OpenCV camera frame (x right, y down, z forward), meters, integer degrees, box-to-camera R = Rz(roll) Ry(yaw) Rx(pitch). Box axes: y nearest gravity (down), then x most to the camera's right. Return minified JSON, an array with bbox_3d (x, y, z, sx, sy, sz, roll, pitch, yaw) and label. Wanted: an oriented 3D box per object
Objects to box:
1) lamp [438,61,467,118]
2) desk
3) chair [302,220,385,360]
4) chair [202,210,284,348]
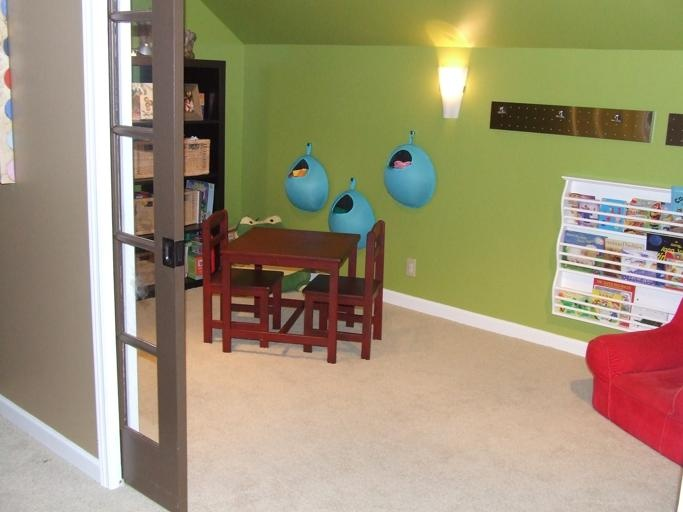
[{"bbox_3d":[0.842,-1.267,4.427,0.211,0.401,0.121,5,13,19],"label":"lamp"},{"bbox_3d":[-0.347,0.264,4.348,0.990,0.768,1.045,7,13,23],"label":"desk"},{"bbox_3d":[0.045,0.217,4.231,0.596,0.816,0.602,-1,15,-31],"label":"chair"},{"bbox_3d":[-0.726,0.167,4.291,0.583,0.924,0.590,1,11,-8],"label":"chair"}]
